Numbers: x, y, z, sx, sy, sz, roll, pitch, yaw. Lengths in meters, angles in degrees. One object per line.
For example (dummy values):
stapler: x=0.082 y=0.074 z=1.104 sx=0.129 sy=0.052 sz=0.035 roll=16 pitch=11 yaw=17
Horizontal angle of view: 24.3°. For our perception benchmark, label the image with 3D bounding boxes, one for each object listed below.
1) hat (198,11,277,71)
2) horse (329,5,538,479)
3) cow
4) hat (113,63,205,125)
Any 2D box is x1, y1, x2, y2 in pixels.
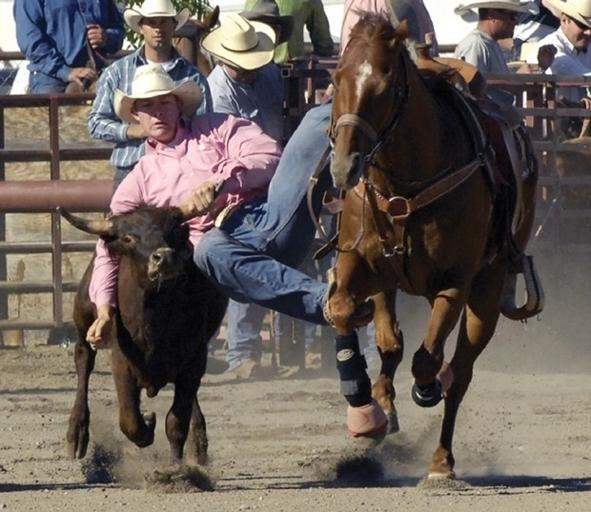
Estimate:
hat: x=-0.448 y=-1.742 z=11.123 sx=0.516 sy=0.203 sz=0.488 roll=35 pitch=61 yaw=31
horse: x=0.855 y=-0.052 z=9.011 sx=0.744 sy=3.021 sz=1.998 roll=8 pitch=12 yaw=44
cow: x=-1.149 y=0.558 z=9.622 sx=1.084 sy=1.857 sz=1.004 roll=1 pitch=9 yaw=10
hat: x=-1.011 y=-1.163 z=10.105 sx=0.438 sy=0.196 sz=0.493 roll=-9 pitch=-29 yaw=-12
